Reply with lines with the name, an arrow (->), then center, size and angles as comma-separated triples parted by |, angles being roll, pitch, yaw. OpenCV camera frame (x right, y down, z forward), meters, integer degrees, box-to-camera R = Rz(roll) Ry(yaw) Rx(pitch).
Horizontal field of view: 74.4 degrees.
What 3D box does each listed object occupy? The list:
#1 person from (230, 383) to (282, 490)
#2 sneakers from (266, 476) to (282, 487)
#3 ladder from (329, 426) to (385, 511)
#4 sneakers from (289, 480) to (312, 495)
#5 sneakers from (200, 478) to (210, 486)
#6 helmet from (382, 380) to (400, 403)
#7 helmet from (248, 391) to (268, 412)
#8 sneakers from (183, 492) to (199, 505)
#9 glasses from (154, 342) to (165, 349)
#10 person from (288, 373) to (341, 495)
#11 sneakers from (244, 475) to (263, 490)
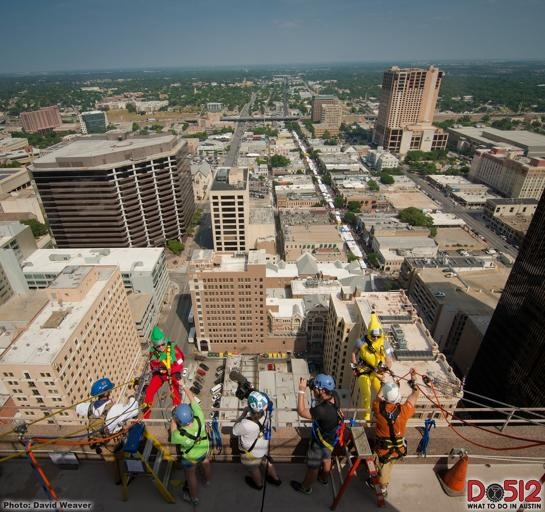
person -> -0.355, 3.870, 7.657 | 1.006, 2.066, 0.928 | -6, 8, -30
sneakers -> 0.018, 4.694, 7.626 | 0.312, 0.110, 0.159 | 10, 18, 10
ladder -> 1.829, 4.341, 7.767 | 1.326, 1.586, 1.121 | -1, 32, 0
sneakers -> 0.592, 4.754, 7.510 | 0.414, 0.139, 0.182 | 16, 27, 25
sneakers -> -1.431, 4.717, 7.572 | 0.120, 0.082, 0.200 | 1, 2, -5
helmet -> 2.439, 2.787, 7.591 | 0.410, 0.374, 0.475 | 0, 15, 11
helmet -> -0.348, 2.951, 7.471 | 0.415, 0.456, 0.464 | -1, 62, -5
sneakers -> -1.677, 4.837, 7.307 | 0.138, 0.143, 0.362 | 1, 14, -43
glasses -> -3.387, 2.596, 10.660 | 0.201, 0.120, 0.242 | -7, -2, -31
person -> 0.935, 3.641, 7.512 | 0.927, 2.256, 1.416 | 6, 28, 14
sneakers -> -0.445, 4.742, 7.589 | 0.433, 0.157, 0.154 | 29, 31, 22
